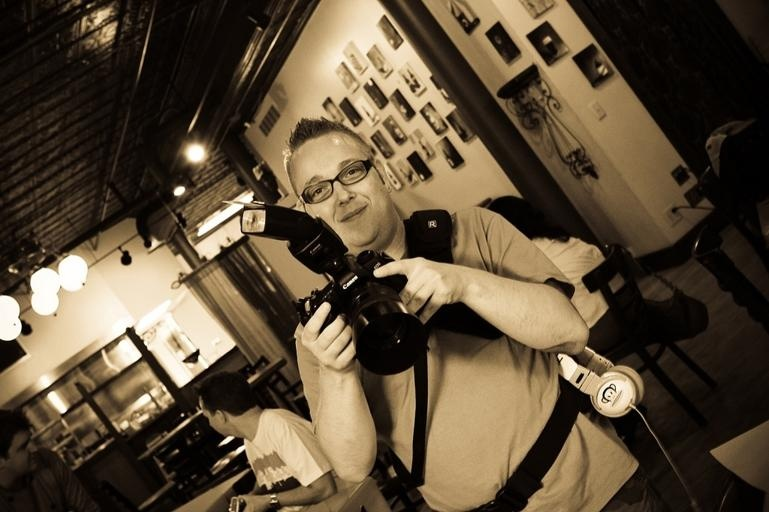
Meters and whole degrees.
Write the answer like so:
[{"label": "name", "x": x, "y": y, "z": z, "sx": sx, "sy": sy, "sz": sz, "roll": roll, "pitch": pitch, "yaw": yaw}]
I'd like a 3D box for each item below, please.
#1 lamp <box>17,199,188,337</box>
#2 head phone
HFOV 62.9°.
[{"label": "lamp", "x": -5.172, "y": -0.200, "z": 12.834, "sx": 3.896, "sy": 1.012, "sz": 2.195, "roll": -36, "pitch": 2, "yaw": 24}, {"label": "head phone", "x": 1.425, "y": 0.785, "z": 4.207, "sx": 0.433, "sy": 0.578, "sz": 0.313, "roll": 0, "pitch": -64, "yaw": -40}]
